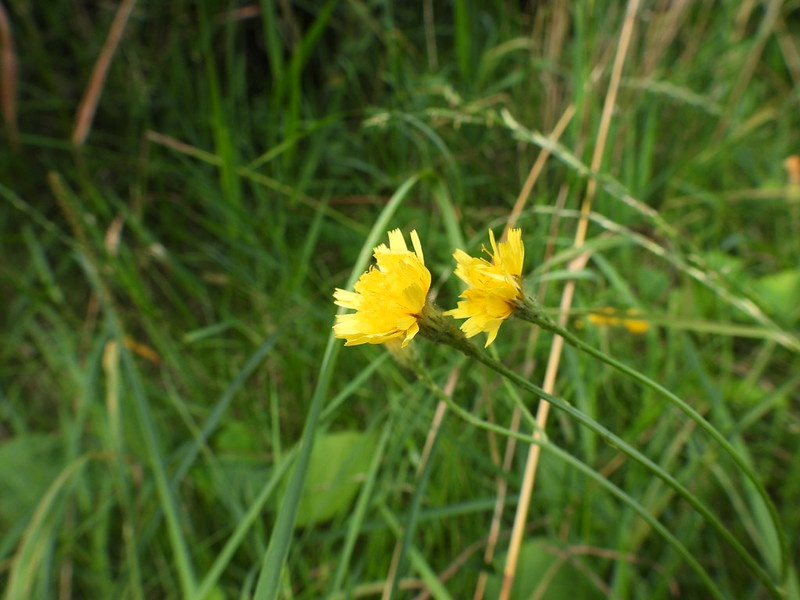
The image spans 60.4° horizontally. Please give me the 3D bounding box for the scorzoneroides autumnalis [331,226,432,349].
[{"bbox_3d":[-0.023,-0.011,0.848,0.118,0.052,0.137,-4,81,1],"label":"scorzoneroides autumnalis"}]
